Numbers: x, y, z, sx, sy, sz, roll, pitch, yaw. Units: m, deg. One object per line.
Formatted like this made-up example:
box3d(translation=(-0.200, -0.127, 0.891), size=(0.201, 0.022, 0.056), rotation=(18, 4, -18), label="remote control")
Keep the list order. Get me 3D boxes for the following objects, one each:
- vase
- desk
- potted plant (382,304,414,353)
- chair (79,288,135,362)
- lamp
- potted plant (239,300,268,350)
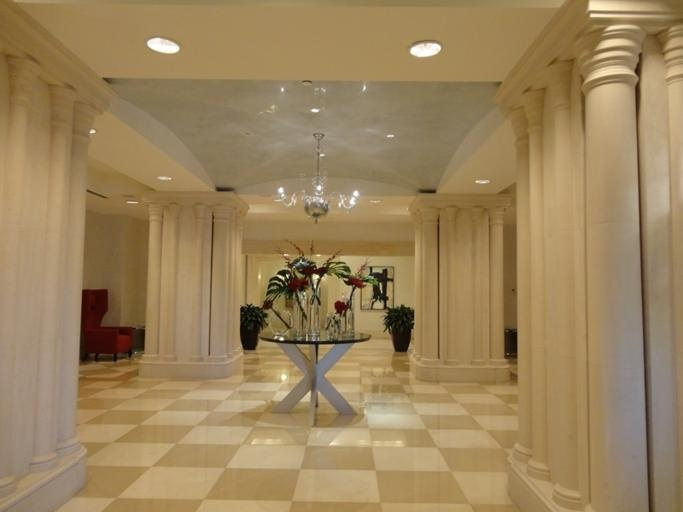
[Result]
box3d(translation=(-0.329, 0.714, 6.303), size=(0.943, 0.548, 0.786), rotation=(1, -1, -6), label="vase")
box3d(translation=(-0.389, 1.538, 6.438), size=(1.211, 0.980, 1.271), rotation=(-5, -10, 24), label="desk")
box3d(translation=(1.365, 1.712, 12.228), size=(0.708, 1.082, 0.855), rotation=(0, -1, 5), label="potted plant")
box3d(translation=(-4.787, 1.378, 10.376), size=(0.883, 1.405, 1.488), rotation=(1, -1, -31), label="chair")
box3d(translation=(-0.390, -1.114, 7.976), size=(1.118, 1.565, 1.173), rotation=(0, -8, -1), label="lamp")
box3d(translation=(-2.299, 1.723, 12.272), size=(0.769, 1.031, 0.947), rotation=(8, -12, -44), label="potted plant")
